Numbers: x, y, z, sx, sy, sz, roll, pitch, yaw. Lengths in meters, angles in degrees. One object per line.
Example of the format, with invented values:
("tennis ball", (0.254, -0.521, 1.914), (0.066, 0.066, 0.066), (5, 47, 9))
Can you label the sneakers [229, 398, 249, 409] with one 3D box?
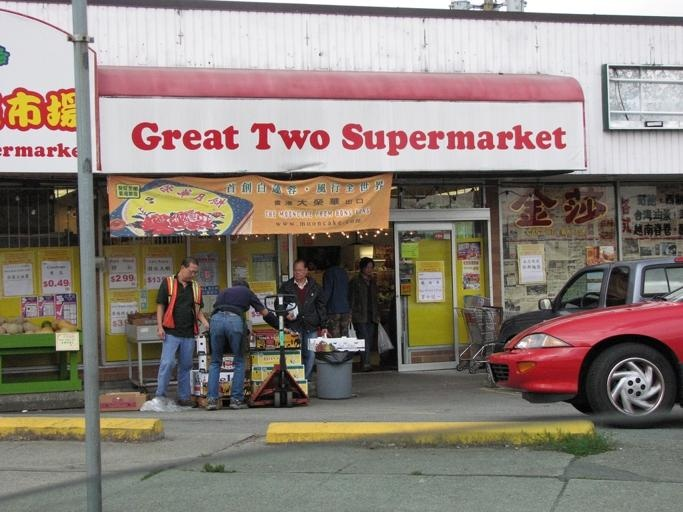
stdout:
("sneakers", (-1.521, 2.186, 14.301), (0.319, 0.144, 0.110), (2, -2, -21))

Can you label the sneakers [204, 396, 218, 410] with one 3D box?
("sneakers", (-1.891, 2.176, 14.282), (0.190, 0.171, 0.147), (-1, -3, -11))

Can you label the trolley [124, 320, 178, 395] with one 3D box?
("trolley", (-3.080, 1.609, 16.311), (0.672, 1.097, 0.655), (-2, 6, -5))

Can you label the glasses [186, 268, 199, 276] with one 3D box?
("glasses", (-2.236, 0.208, 14.741), (0.164, 0.155, 0.200), (4, -19, -29))

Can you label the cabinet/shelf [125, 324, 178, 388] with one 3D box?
("cabinet/shelf", (-3.138, 1.588, 16.156), (0.900, 0.973, 0.915), (-8, -19, 20))

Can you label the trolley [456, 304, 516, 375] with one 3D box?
("trolley", (2.512, 1.448, 17.004), (1.010, 0.983, 0.564), (-1, -2, -19))

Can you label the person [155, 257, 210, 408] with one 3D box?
("person", (-2.436, 1.138, 14.644), (0.809, 2.236, 0.402), (-1, -4, -13))

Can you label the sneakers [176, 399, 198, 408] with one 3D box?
("sneakers", (-2.314, 2.235, 14.677), (0.339, 0.143, 0.121), (0, 1, -7))

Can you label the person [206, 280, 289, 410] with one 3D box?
("person", (-1.553, 1.320, 14.493), (0.913, 1.867, 0.426), (-1, -3, -9))
